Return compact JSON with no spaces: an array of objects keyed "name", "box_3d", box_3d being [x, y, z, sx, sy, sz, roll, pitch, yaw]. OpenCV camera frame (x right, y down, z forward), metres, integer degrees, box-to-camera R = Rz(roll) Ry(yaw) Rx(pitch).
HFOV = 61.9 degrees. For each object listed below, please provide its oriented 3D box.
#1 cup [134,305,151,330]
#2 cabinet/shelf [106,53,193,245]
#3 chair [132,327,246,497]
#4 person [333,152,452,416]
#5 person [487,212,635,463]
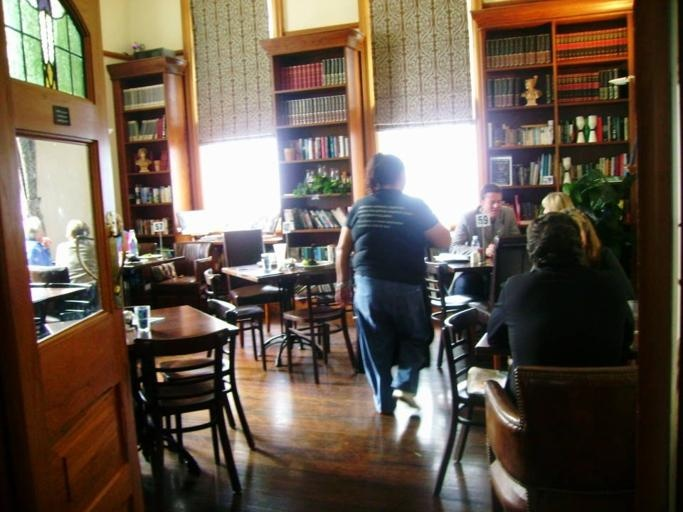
[{"name":"cup","box_3d":[-1.164,0.348,3.324,0.088,0.130,0.230,-6,9,-21]},{"name":"cabinet/shelf","box_3d":[-2.471,-1.317,7.521,0.991,2.376,0.530,0,9,18]},{"name":"chair","box_3d":[-0.900,0.799,3.244,0.537,0.878,0.776,-6,9,-21]},{"name":"person","box_3d":[0.331,0.212,3.770,0.761,1.744,0.314,-2,8,6]},{"name":"person","box_3d":[0.886,0.281,2.509,0.490,1.017,0.574,-9,31,-6]}]
